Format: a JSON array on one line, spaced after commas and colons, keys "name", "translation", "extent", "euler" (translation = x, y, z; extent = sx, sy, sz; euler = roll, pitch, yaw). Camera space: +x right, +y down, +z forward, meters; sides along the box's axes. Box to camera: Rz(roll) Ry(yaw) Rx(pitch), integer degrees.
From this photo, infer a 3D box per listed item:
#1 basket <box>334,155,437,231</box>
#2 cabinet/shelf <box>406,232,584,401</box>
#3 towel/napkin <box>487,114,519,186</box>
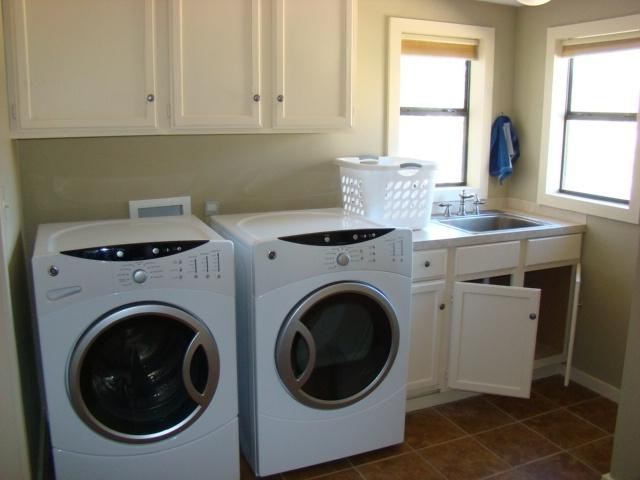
[{"name": "basket", "translation": [0.420, -0.313, 3.145], "extent": [0.438, 0.376, 0.540], "euler": [-4, 11, -19]}, {"name": "cabinet/shelf", "translation": [1.057, 0.229, 3.472], "extent": [1.363, 1.188, 0.974], "euler": [-5, 9, -21]}, {"name": "towel/napkin", "translation": [1.392, -0.689, 3.785], "extent": [0.233, 0.489, 0.155], "euler": [1, 15, 6]}]
